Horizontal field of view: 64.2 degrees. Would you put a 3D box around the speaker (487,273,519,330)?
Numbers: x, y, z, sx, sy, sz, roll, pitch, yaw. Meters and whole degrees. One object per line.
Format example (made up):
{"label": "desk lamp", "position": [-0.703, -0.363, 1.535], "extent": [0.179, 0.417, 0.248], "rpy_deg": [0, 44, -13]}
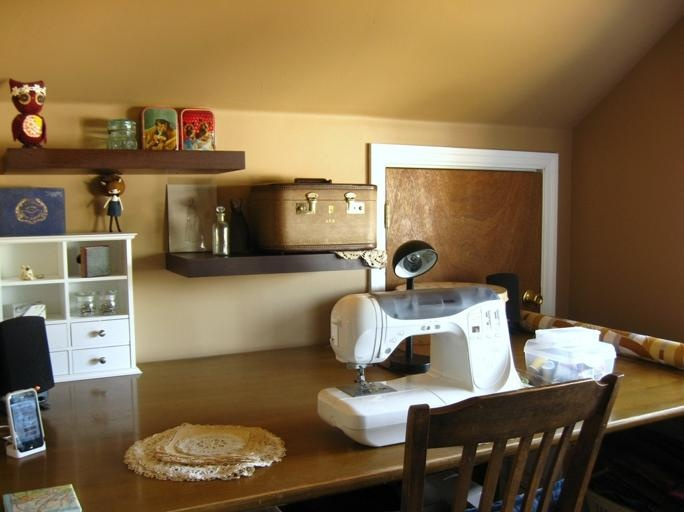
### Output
{"label": "speaker", "position": [0.797, 0.216, 2.650], "extent": [0.166, 0.265, 0.212], "rpy_deg": [7, 13, 30]}

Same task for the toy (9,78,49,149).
{"label": "toy", "position": [-1.076, -0.486, 1.868], "extent": [0.108, 0.222, 0.080], "rpy_deg": [-5, 12, -23]}

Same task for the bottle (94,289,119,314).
{"label": "bottle", "position": [-0.911, 0.177, 2.113], "extent": [0.091, 0.109, 0.085], "rpy_deg": [0, -2, 0]}

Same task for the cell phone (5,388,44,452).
{"label": "cell phone", "position": [-0.882, 0.459, 1.514], "extent": [0.086, 0.168, 0.136], "rpy_deg": [-7, 13, -30]}

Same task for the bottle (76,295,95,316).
{"label": "bottle", "position": [-0.981, 0.189, 2.082], "extent": [0.079, 0.095, 0.073], "rpy_deg": [1, 5, 0]}
